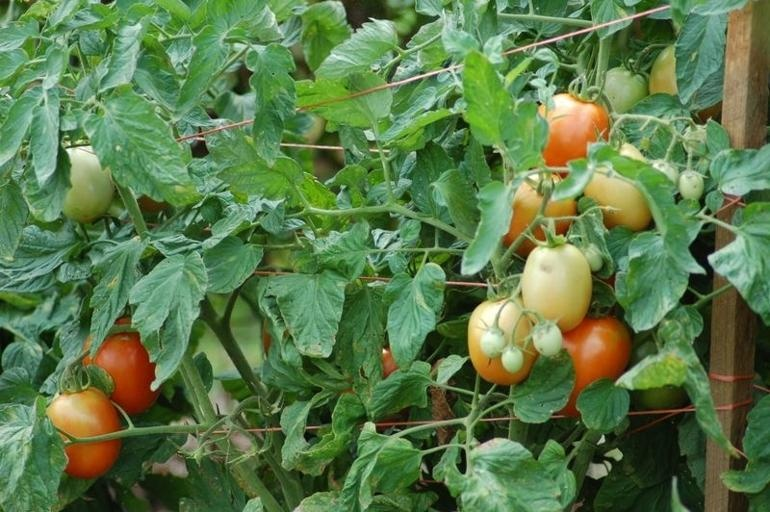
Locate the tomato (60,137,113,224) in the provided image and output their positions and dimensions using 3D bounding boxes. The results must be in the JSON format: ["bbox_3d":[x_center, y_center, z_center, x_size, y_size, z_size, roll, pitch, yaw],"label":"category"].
[{"bbox_3d":[-0.459,-0.110,1.332,0.094,0.125,0.097,-13,8,-13],"label":"tomato"}]

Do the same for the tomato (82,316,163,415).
[{"bbox_3d":[-0.403,0.173,1.398,0.120,0.143,0.129,1,2,-6],"label":"tomato"}]
